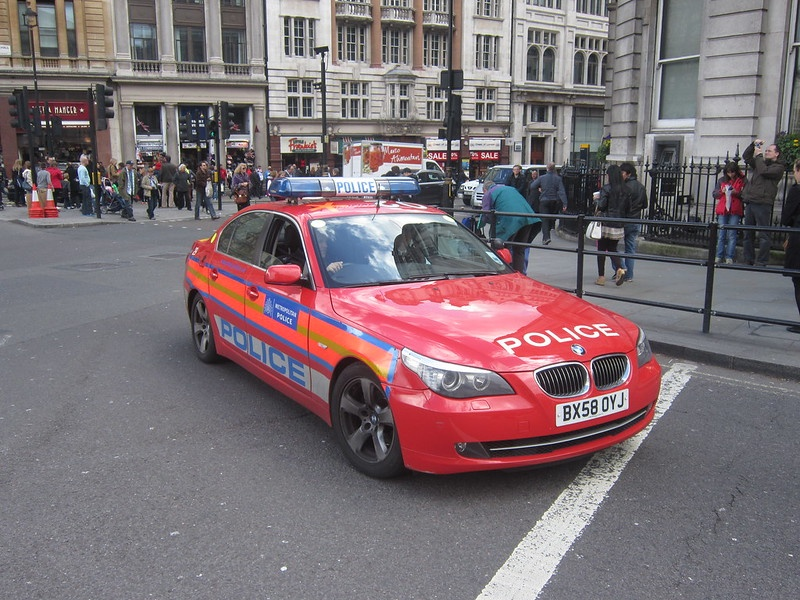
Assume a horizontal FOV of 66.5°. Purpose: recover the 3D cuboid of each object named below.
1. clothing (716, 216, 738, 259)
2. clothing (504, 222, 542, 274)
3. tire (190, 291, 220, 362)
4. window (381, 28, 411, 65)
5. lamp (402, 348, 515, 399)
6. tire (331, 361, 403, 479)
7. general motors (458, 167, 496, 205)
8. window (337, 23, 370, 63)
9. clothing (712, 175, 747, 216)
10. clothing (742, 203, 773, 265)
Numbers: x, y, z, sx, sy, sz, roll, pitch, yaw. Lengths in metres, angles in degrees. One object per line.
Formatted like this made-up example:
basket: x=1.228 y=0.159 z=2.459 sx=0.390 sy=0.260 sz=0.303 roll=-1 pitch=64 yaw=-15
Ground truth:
clothing: x=5.963 y=-1.161 z=11.260 sx=0.331 sy=1.080 sz=0.714 roll=8 pitch=8 yaw=26
clothing: x=1.989 y=-0.904 z=10.080 sx=0.295 sy=1.022 sz=0.371 roll=15 pitch=16 yaw=21
tire: x=-2.125 y=0.287 z=6.915 sx=0.218 sy=0.727 sz=0.672 roll=-6 pitch=-21 yaw=-34
window: x=-0.470 y=-20.353 z=49.010 sx=2.297 sy=2.941 sz=0.340 roll=-7 pitch=12 yaw=-26
lamp: x=0.360 y=0.503 z=4.035 sx=0.738 sy=0.256 sz=0.140 roll=4 pitch=13 yaw=16
tire: x=-0.181 y=0.851 z=4.516 sx=0.701 sy=0.835 sz=0.213 roll=7 pitch=12 yaw=40
general motors: x=3.741 y=-5.779 z=31.406 sx=1.276 sy=1.410 sz=2.616 roll=5 pitch=11 yaw=23
window: x=-3.752 y=-20.067 z=47.648 sx=2.544 sy=2.805 sz=0.362 roll=-10 pitch=11 yaw=-36
clothing: x=6.600 y=-2.016 z=12.439 sx=0.726 sy=1.045 sz=0.605 roll=3 pitch=4 yaw=42
clothing: x=6.695 y=-1.262 z=11.643 sx=0.311 sy=1.297 sz=0.430 roll=-7 pitch=12 yaw=-27
